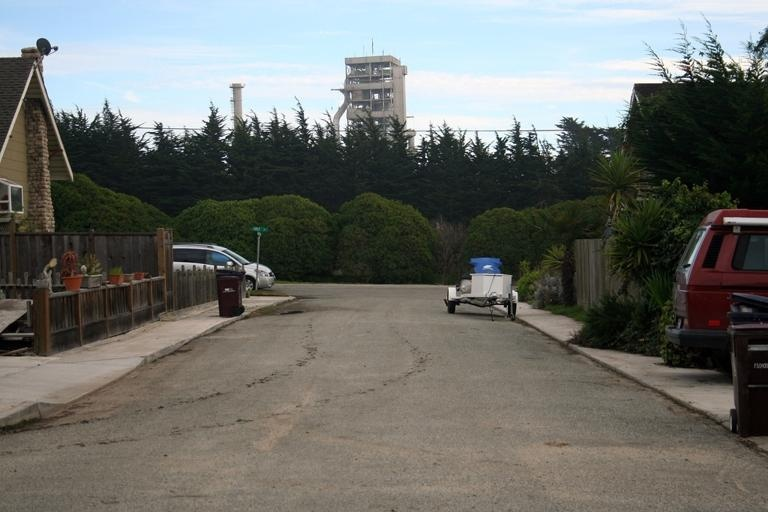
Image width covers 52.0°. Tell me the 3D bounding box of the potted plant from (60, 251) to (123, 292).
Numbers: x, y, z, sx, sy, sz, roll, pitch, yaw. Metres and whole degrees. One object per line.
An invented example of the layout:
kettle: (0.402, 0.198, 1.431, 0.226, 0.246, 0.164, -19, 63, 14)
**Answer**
potted plant: (-7.388, 0.407, 19.396, 1.792, 1.028, 0.765, 5, -5, -25)

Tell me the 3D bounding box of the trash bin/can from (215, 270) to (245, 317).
trash bin/can: (-4.968, 1.218, 25.255, 0.951, 1.465, 0.843, -1, 1, -4)

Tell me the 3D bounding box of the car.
car: (-6.910, 0.243, 33.893, 6.307, 2.575, 2.647, 0, -1, -7)
